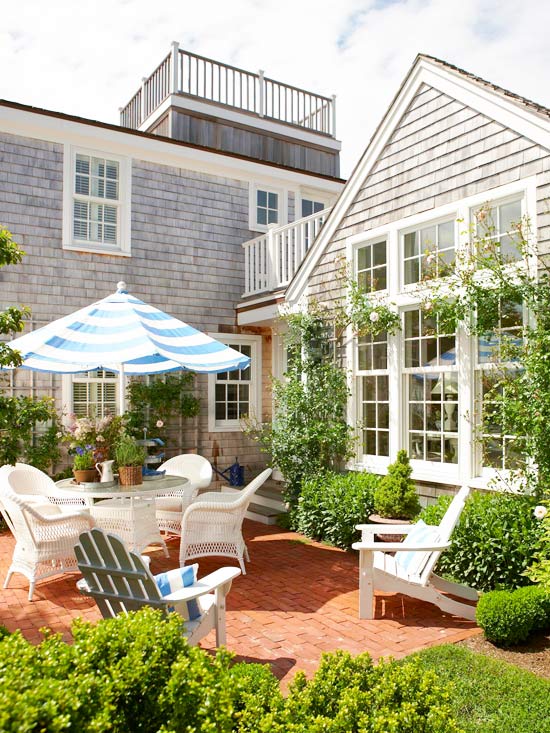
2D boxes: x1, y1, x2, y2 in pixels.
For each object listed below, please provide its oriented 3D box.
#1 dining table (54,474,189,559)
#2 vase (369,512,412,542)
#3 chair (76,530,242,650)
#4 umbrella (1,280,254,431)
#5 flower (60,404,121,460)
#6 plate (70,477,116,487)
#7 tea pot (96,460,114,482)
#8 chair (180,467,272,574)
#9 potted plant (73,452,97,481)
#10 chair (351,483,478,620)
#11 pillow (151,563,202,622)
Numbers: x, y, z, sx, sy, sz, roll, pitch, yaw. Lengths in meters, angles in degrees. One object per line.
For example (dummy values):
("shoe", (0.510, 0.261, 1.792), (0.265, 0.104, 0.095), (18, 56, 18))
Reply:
("dining table", (-1.373, 1.279, 6.699), (1.030, 0.658, 1.046), (-1, 1, 43))
("vase", (1.026, 1.430, 6.602), (0.278, 0.186, 0.273), (1, -3, -11))
("chair", (-0.709, 1.355, 4.366), (0.864, 0.841, 1.009), (-3, -3, 4))
("umbrella", (-1.362, -0.221, 7.004), (1.880, 1.115, 1.790), (-5, -5, 24))
("flower", (-1.771, 0.643, 6.980), (0.471, 0.466, 0.527), (-4, 6, 2))
("plate", (-1.601, 1.034, 6.596), (0.366, 0.052, 0.421), (-1, -1, -26))
("tea pot", (-1.537, 0.939, 6.679), (0.221, 0.223, 0.148), (0, -2, -2))
("chair", (-0.451, 1.351, 6.692), (0.752, 0.894, 0.641), (1, -2, 0))
("potted plant", (-1.719, 0.897, 6.715), (0.224, 0.252, 0.229), (-2, -4, 17))
("chair", (1.047, 1.362, 5.607), (0.989, 0.927, 0.862), (2, 0, 17))
("pillow", (-0.584, 1.318, 4.357), (0.319, 0.309, 0.094), (-3, -11, -31))
